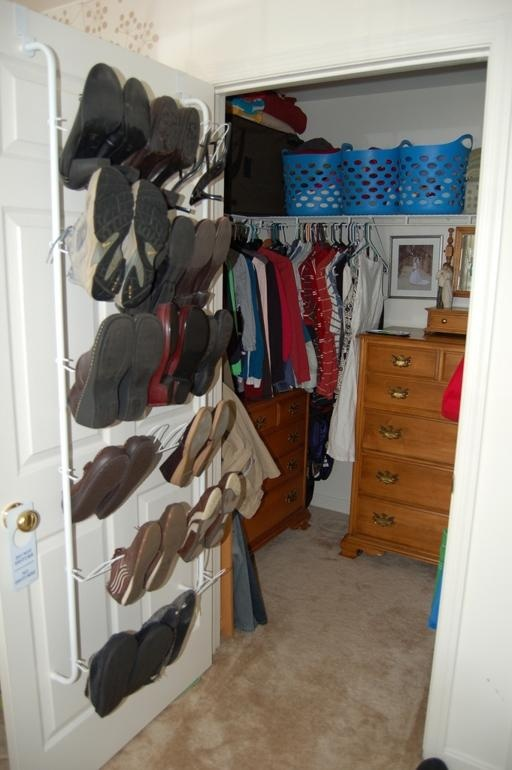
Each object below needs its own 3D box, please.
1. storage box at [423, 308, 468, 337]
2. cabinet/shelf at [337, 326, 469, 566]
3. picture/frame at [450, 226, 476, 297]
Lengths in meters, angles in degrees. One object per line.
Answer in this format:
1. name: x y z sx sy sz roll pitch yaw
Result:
1. storage box: 0.926 -0.304 2.755 0.184 0.133 0.176 5 11 15
2. cabinet/shelf: 0.891 0.325 3.012 0.799 1.311 0.575 11 24 22
3. picture/frame: 0.977 -0.578 2.675 0.087 0.335 0.219 5 11 17
